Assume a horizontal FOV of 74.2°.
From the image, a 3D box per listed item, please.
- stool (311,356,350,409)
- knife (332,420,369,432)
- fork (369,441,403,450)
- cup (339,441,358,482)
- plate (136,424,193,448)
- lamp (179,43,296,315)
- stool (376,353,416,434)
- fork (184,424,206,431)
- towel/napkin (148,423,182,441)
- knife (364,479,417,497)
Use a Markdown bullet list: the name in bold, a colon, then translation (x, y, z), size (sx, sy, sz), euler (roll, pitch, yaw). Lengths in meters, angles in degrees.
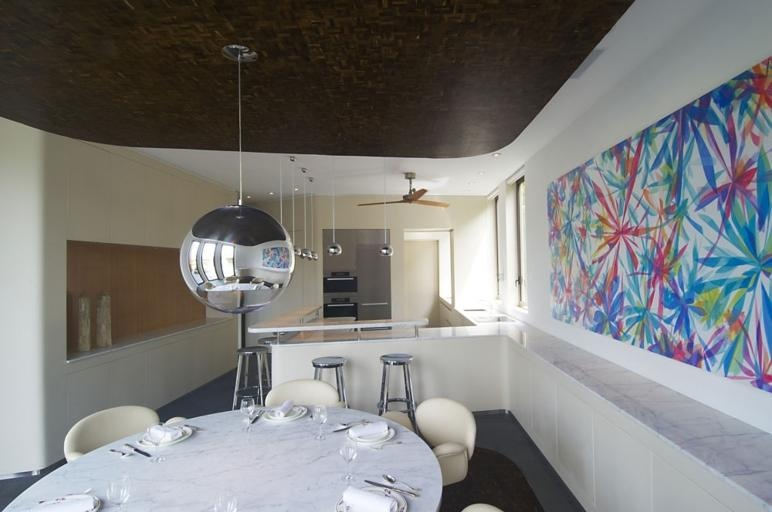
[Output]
- **stool**: translation (-0.555, 1.259, 5.179), size (0.501, 0.565, 0.505), euler (-1, -6, -4)
- **knife**: translation (-0.251, 1.221, 3.634), size (0.263, 0.038, 0.054), euler (1, -6, -34)
- **fork**: translation (-0.012, 1.286, 3.443), size (0.175, 0.027, 0.033), euler (-3, 2, -28)
- **cup**: translation (-0.233, 1.260, 3.225), size (0.106, 0.225, 0.263), euler (-4, 11, -6)
- **plate**: translation (-1.514, 1.250, 3.564), size (0.192, 0.058, 0.187), euler (0, 0, 5)
- **lamp**: translation (-0.970, -0.522, 3.302), size (0.690, 1.782, 0.676), euler (6, -11, -28)
- **stool**: translation (0.112, 1.469, 5.372), size (0.484, 0.759, 0.463), euler (-2, -2, 15)
- **fork**: translation (-1.379, 1.253, 3.695), size (0.221, 0.025, 0.051), euler (4, -4, 7)
- **towel/napkin**: translation (-1.534, 1.236, 3.533), size (0.139, 0.045, 0.142), euler (0, -3, 36)
- **knife**: translation (0.023, 1.403, 3.062), size (0.371, 0.019, 0.050), euler (1, 2, 31)
